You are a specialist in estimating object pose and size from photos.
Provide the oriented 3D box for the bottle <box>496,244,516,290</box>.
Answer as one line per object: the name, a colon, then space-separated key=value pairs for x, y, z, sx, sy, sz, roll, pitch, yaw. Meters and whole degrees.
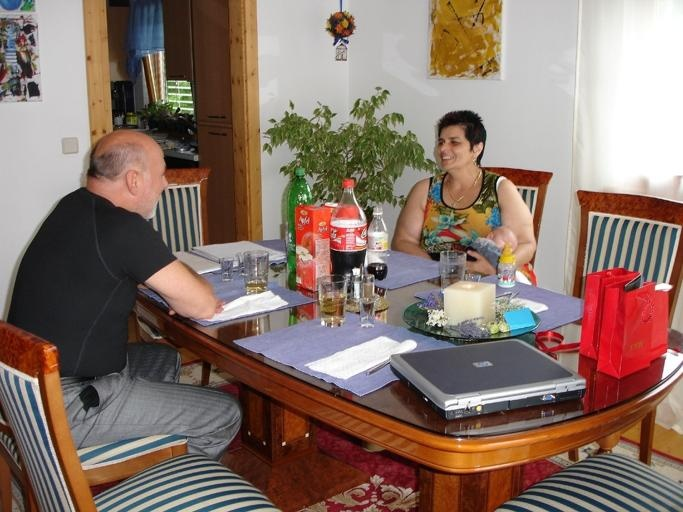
bottle: x=0.589 y=0.034 z=1.856 sx=0.058 sy=0.153 sz=0.060 roll=-4 pitch=21 yaw=2

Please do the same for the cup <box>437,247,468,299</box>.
cup: x=0.396 y=0.070 z=1.847 sx=0.089 sy=0.147 sz=0.090 roll=4 pitch=-8 yaw=1

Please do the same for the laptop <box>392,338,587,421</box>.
laptop: x=0.332 y=0.279 z=1.219 sx=0.394 sy=0.074 sz=0.220 roll=-5 pitch=13 yaw=-12

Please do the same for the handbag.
handbag: x=0.709 y=0.179 z=1.305 sx=0.207 sy=0.209 sz=0.121 roll=-10 pitch=15 yaw=-30

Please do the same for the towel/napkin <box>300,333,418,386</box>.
towel/napkin: x=0.052 y=0.255 z=1.325 sx=0.206 sy=0.030 sz=0.112 roll=-16 pitch=22 yaw=-41

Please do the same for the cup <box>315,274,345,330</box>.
cup: x=-0.023 y=0.137 z=1.556 sx=0.086 sy=0.138 sz=0.085 roll=1 pitch=7 yaw=0

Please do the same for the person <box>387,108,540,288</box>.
person: x=0.632 y=-0.265 z=2.719 sx=0.670 sy=0.939 sz=0.546 roll=1 pitch=14 yaw=25

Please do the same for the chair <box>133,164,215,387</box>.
chair: x=-0.787 y=-0.036 z=2.710 sx=0.450 sy=0.699 sz=0.507 roll=3 pitch=18 yaw=-24

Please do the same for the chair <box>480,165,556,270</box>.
chair: x=0.992 y=-0.273 z=3.085 sx=0.473 sy=0.682 sz=0.415 roll=-8 pitch=16 yaw=-42

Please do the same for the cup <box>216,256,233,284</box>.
cup: x=-0.428 y=0.052 z=1.943 sx=0.070 sy=0.105 sz=0.072 roll=2 pitch=3 yaw=0

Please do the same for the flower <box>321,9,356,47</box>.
flower: x=-0.020 y=-1.803 z=4.056 sx=0.164 sy=0.165 sz=0.152 roll=20 pitch=28 yaw=12

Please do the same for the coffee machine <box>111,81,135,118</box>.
coffee machine: x=-2.770 y=-2.024 z=6.638 sx=0.257 sy=0.403 sz=0.269 roll=-13 pitch=24 yaw=-27
